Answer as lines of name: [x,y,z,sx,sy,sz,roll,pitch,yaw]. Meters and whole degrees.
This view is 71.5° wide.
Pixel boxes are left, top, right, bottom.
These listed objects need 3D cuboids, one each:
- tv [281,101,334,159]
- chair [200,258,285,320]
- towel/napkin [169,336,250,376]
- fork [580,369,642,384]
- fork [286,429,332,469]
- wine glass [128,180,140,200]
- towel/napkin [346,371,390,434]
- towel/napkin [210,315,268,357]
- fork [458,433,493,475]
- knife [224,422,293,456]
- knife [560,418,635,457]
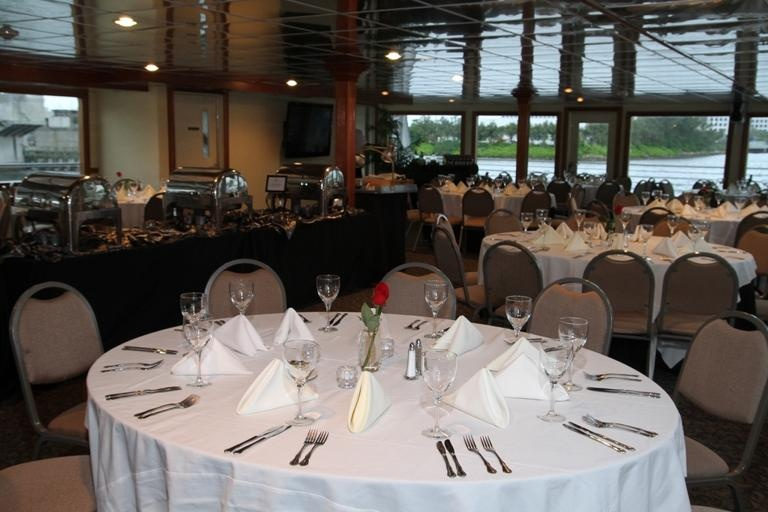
tv: [-2.038,-3.159,13.534,0.202,1.675,1.752,23,25,33]
chair: [-0.934,0.181,3.481,0.307,0.315,0.458,19,-2,7]
towel/napkin: [-0.804,0.455,2.380,0.267,0.095,0.196,-1,1,1]
fork: [0.986,0.539,2.423,0.396,0.055,0.082,0,5,6]
fork: [-0.265,0.677,1.880,0.048,0.017,0.156,2,17,19]
wine glass: [-3.767,-0.983,8.029,0.190,0.255,0.094,6,2,38]
towel/napkin: [-0.079,0.544,2.067,0.120,0.187,0.239,1,1,8]
towel/napkin: [-0.707,0.391,2.600,0.168,0.095,0.237,-11,17,-31]
fork: [0.328,0.687,1.864,0.032,0.028,0.187,-3,20,-10]
knife: [-0.450,0.656,1.935,0.069,0.015,0.295,17,23,39]
knife: [0.782,0.666,1.969,0.252,0.011,0.074,10,19,38]
